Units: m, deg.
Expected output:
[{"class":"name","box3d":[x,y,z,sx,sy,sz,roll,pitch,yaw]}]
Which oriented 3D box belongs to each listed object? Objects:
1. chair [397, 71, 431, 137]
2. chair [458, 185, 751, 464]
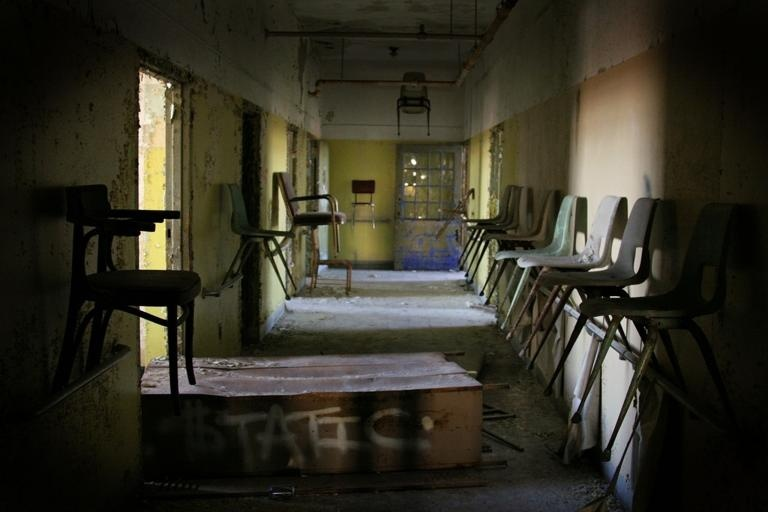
[{"class":"chair","box3d":[0.466,-2.330,9.092,0.569,0.888,0.595,2,9,11]},{"class":"chair","box3d":[1.499,0.341,3.430,1.171,1.590,1.165,0,1,-8]}]
